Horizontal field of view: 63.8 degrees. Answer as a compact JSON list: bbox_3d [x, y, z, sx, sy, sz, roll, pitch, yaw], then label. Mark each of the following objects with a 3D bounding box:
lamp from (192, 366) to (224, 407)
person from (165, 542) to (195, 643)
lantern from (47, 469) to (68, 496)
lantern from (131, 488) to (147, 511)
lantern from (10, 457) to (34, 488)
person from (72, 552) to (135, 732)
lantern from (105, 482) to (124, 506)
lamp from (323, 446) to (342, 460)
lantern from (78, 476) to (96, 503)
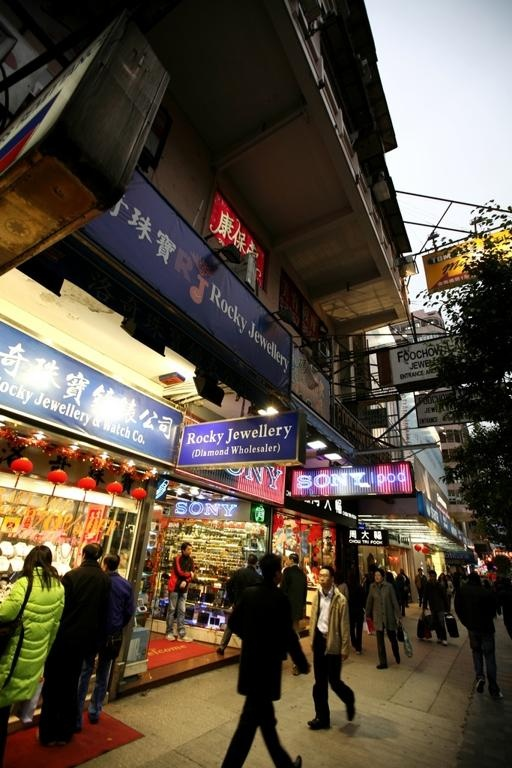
[{"bbox_3d":[-0.572,0.004,4.874,0.330,0.205,0.473,42,3,-30],"label":"lamp"},{"bbox_3d":[-1.434,3.886,7.768,0.445,1.647,0.701,9,-20,-7],"label":"person"},{"bbox_3d":[-2.421,1.180,4.998,0.172,0.302,0.587,14,-22,-19],"label":"lantern"},{"bbox_3d":[-1.583,1.546,5.554,0.206,0.314,0.217,0,-12,6],"label":"lantern"},{"bbox_3d":[-2.707,1.004,4.703,0.214,0.307,0.499,18,-23,-27],"label":"lantern"},{"bbox_3d":[-1.530,2.485,4.127,0.461,1.641,0.474,9,-8,-11],"label":"person"},{"bbox_3d":[-1.850,1.429,5.369,0.217,0.289,0.488,13,-22,-15],"label":"lantern"},{"bbox_3d":[1.451,1.277,7.939,0.306,0.097,0.345,-5,-22,27],"label":"lamp"},{"bbox_3d":[-2.179,1.336,5.289,0.220,0.319,0.509,14,-22,-19],"label":"lantern"}]
